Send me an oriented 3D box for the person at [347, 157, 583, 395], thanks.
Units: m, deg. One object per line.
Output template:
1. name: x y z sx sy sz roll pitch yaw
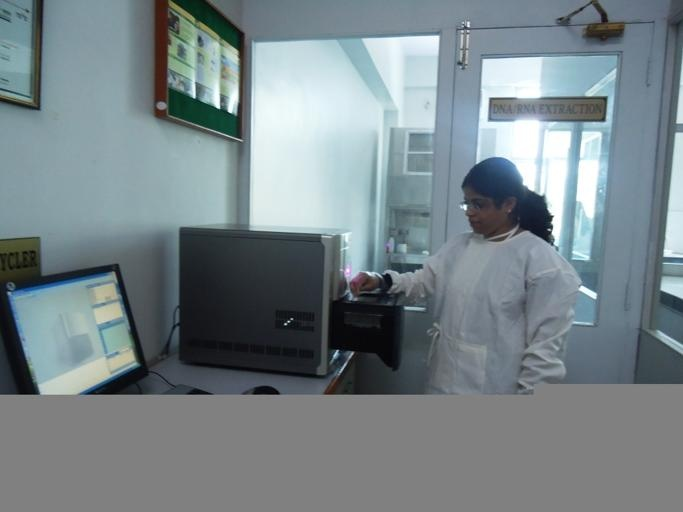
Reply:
1. person: 0.411 0.312 1.645 0.549 1.094 0.408 1 -5 39

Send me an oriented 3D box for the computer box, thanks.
1. computer box: -0.139 0.105 1.527 0.552 0.387 0.392 0 4 6

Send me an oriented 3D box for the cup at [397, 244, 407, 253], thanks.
1. cup: 0.287 -0.039 2.455 0.045 0.044 0.046 3 -14 1
